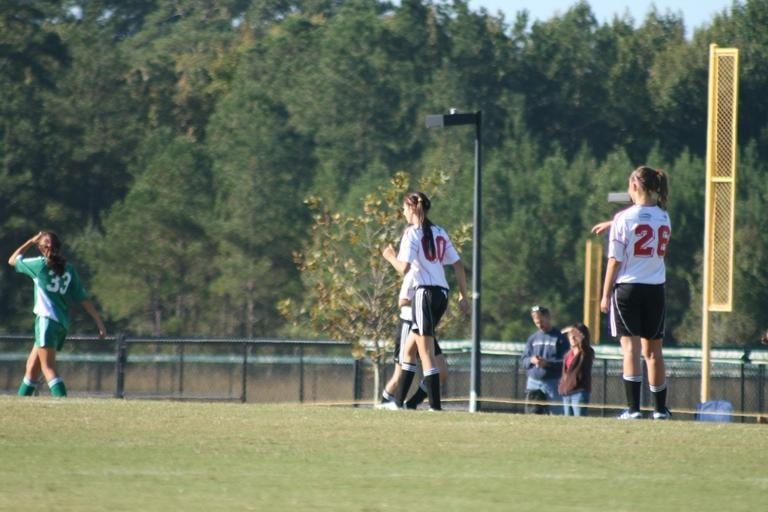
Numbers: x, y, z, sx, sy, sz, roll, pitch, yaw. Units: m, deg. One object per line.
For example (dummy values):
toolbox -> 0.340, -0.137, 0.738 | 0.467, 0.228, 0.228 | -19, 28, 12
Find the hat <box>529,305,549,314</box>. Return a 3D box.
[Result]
hat -> 6.105, 2.044, 76.627 | 0.648, 0.381, 0.971 | 1, -5, 4

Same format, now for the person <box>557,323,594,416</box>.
person -> 7.393, 4.339, 75.576 | 1.251, 3.534, 0.948 | -1, -5, 19
